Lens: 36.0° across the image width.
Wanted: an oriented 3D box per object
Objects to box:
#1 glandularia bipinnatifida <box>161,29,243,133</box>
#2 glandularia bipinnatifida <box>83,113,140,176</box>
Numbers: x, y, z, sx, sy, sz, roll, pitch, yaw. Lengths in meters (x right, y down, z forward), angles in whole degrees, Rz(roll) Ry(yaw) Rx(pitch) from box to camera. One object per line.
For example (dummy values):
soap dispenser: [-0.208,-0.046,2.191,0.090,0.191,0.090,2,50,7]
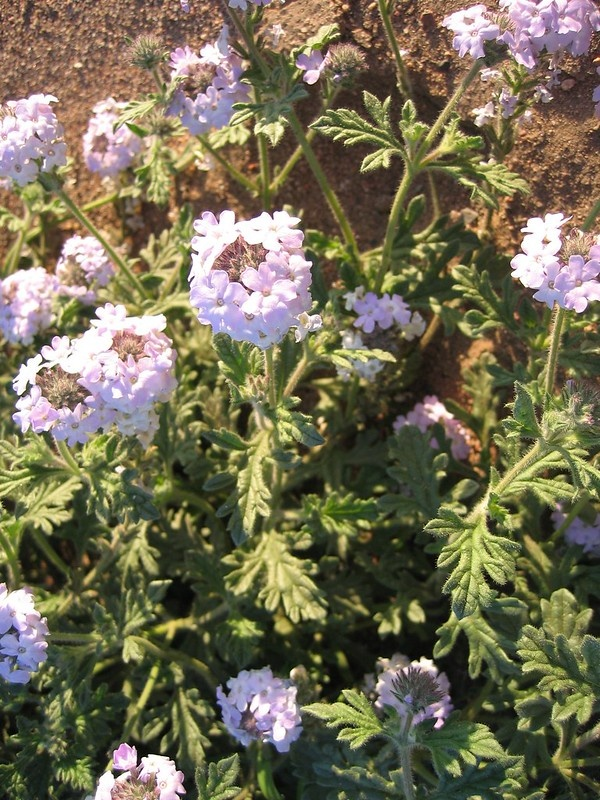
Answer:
glandularia bipinnatifida: [-0.507,-1.676,4.882,0.430,0.520,0.303,7,48,11]
glandularia bipinnatifida: [-1.257,-1.677,6.164,0.379,0.447,0.262,-11,47,-5]
